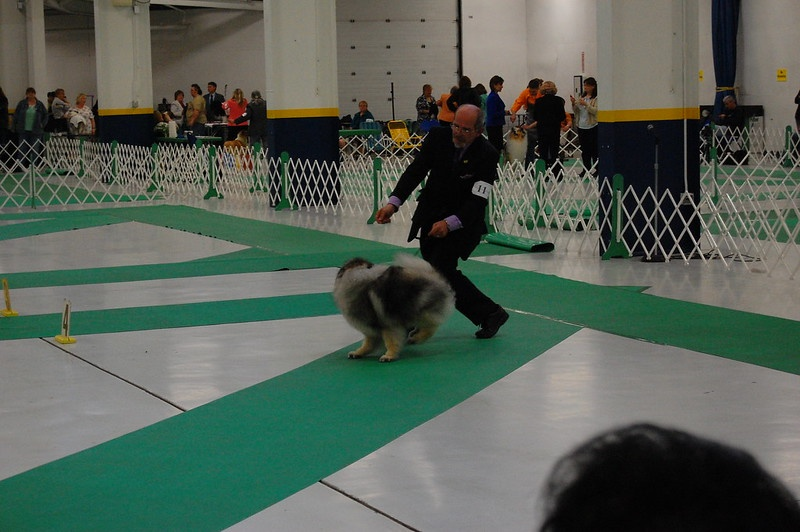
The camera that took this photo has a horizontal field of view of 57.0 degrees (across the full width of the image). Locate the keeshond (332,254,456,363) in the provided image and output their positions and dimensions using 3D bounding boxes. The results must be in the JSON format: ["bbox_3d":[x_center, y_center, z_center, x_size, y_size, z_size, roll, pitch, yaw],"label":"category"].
[{"bbox_3d":[-0.006,0.264,5.124,0.820,0.700,0.483,-9,7,-19],"label":"keeshond"}]
